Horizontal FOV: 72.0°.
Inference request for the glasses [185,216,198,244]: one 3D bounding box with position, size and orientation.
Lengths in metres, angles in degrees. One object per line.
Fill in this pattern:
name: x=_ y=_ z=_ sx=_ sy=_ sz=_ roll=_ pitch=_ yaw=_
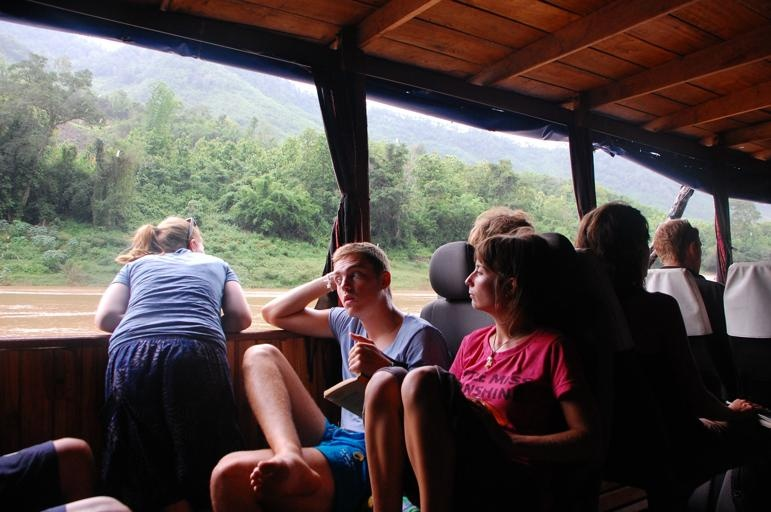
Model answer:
glasses: x=-1.169 y=-0.161 z=3.182 sx=0.041 sy=0.127 sz=0.129 roll=2 pitch=-1 yaw=-23
